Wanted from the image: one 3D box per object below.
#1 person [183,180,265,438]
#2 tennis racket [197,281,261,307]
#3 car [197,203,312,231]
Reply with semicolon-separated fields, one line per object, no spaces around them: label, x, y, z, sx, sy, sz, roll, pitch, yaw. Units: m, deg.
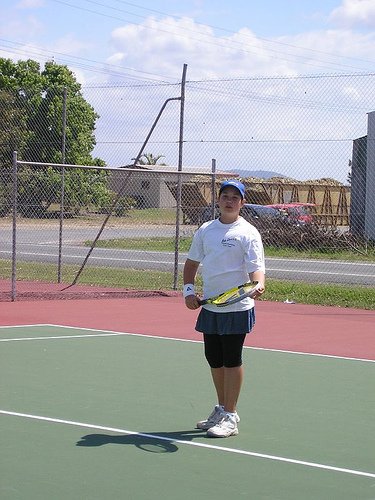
person;0.258;0.376;3.916;0.560;1.787;0.831;1;3;0
tennis racket;0.254;0.274;3.555;0.419;0.178;0.244;1;3;14
car;2.506;-1.229;20.468;4.208;1.230;1.483;2;13;15
